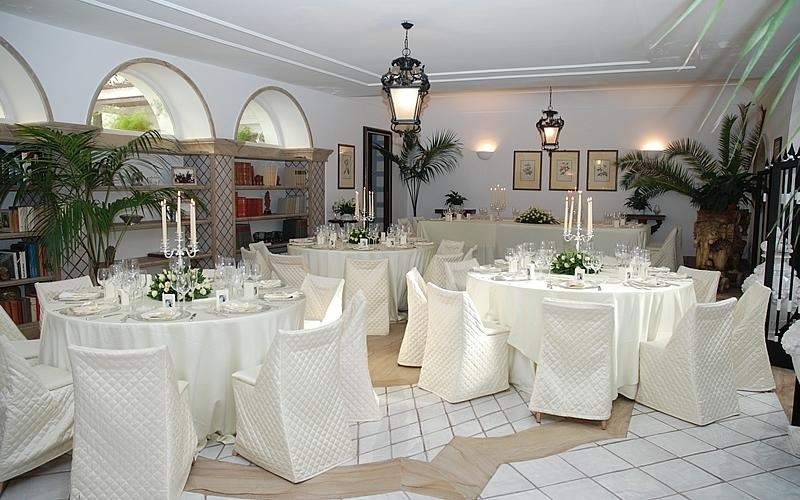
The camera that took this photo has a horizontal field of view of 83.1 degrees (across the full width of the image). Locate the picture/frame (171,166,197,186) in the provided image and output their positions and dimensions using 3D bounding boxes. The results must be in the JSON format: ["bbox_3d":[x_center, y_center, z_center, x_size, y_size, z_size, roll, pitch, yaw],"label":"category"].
[{"bbox_3d":[-3.584,-1.218,7.448,0.361,0.334,0.027,-2,-5,-44],"label":"picture/frame"}]

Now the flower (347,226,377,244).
[{"bbox_3d":[-0.620,-0.230,7.211,0.313,0.228,0.317,1,1,-30],"label":"flower"}]

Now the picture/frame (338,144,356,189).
[{"bbox_3d":[-1.230,-1.907,10.360,0.031,0.983,0.683,-10,16,-42],"label":"picture/frame"}]

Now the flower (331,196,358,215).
[{"bbox_3d":[-1.220,-0.929,9.584,0.524,0.384,0.522,-2,-2,6],"label":"flower"}]

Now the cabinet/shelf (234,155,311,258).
[{"bbox_3d":[-2.705,-0.666,9.001,0.742,2.183,2.230,1,9,27],"label":"cabinet/shelf"}]

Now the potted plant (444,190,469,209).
[{"bbox_3d":[1.526,-1.333,12.071,0.583,0.249,0.549,4,4,42],"label":"potted plant"}]

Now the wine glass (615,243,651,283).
[{"bbox_3d":[2.493,0.134,4.878,0.359,0.524,0.372,-2,4,4],"label":"wine glass"}]

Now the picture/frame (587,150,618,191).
[{"bbox_3d":[5.061,-1.985,11.323,0.699,1.053,0.039,3,-8,14],"label":"picture/frame"}]

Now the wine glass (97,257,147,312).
[{"bbox_3d":[-2.480,0.324,4.013,0.363,0.471,0.344,3,11,-1],"label":"wine glass"}]

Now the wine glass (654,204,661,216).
[{"bbox_3d":[6.233,-0.987,10.954,0.172,0.229,0.067,1,8,26],"label":"wine glass"}]

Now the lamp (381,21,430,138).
[{"bbox_3d":[0.058,-1.924,4.958,0.554,1.234,0.544,1,-1,-37],"label":"lamp"}]

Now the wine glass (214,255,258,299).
[{"bbox_3d":[-1.516,0.260,4.193,0.382,0.452,0.384,3,-3,-35],"label":"wine glass"}]
